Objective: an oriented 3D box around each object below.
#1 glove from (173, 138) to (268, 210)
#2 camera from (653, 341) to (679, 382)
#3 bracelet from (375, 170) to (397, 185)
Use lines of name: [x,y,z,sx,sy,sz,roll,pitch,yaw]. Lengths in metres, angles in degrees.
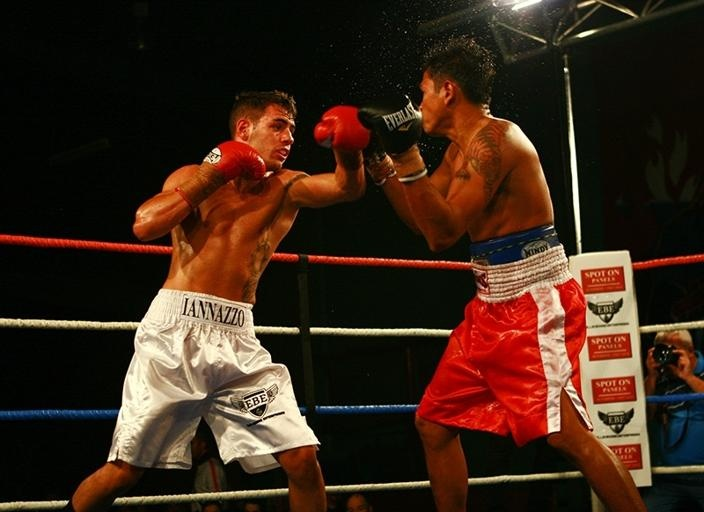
glove: [-0.647,-0.380,3.559,0.387,0.296,0.170,-49,4,-2]
camera: [2.134,0.724,4.877,0.145,0.264,0.150,-6,-2,38]
bracelet: [0.176,-0.409,3.800,0.086,0.033,0.071,-35,0,12]
